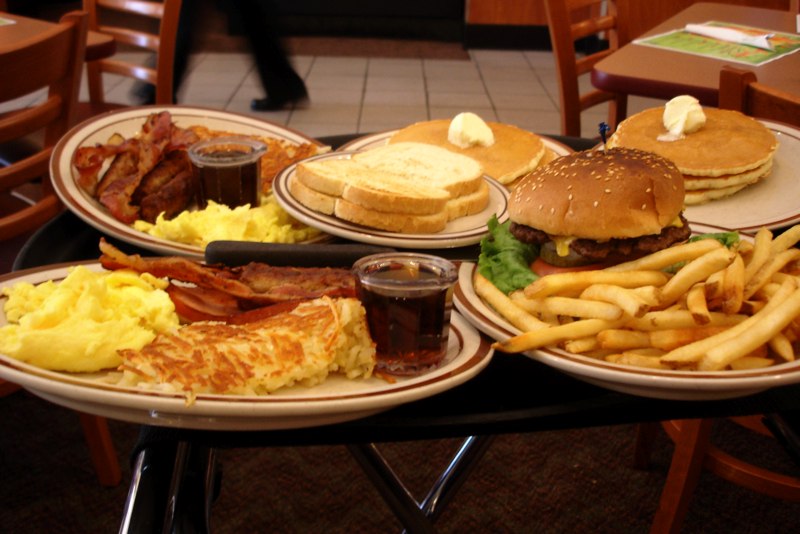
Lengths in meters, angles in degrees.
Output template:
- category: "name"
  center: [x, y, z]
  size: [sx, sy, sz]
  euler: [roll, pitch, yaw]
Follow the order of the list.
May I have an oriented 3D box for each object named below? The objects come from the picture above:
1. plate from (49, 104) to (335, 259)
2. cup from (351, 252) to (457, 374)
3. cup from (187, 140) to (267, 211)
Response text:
- category: "plate"
  center: [-0.803, -0.357, 1.909]
  size: [0.699, 0.147, 0.690]
  euler: [29, 33, 23]
- category: "cup"
  center: [0.026, 0.094, 1.303]
  size: [0.261, 0.201, 0.231]
  euler: [-11, 23, -31]
- category: "cup"
  center: [-0.490, -0.248, 1.736]
  size: [0.242, 0.190, 0.189]
  euler: [-9, 21, -23]
